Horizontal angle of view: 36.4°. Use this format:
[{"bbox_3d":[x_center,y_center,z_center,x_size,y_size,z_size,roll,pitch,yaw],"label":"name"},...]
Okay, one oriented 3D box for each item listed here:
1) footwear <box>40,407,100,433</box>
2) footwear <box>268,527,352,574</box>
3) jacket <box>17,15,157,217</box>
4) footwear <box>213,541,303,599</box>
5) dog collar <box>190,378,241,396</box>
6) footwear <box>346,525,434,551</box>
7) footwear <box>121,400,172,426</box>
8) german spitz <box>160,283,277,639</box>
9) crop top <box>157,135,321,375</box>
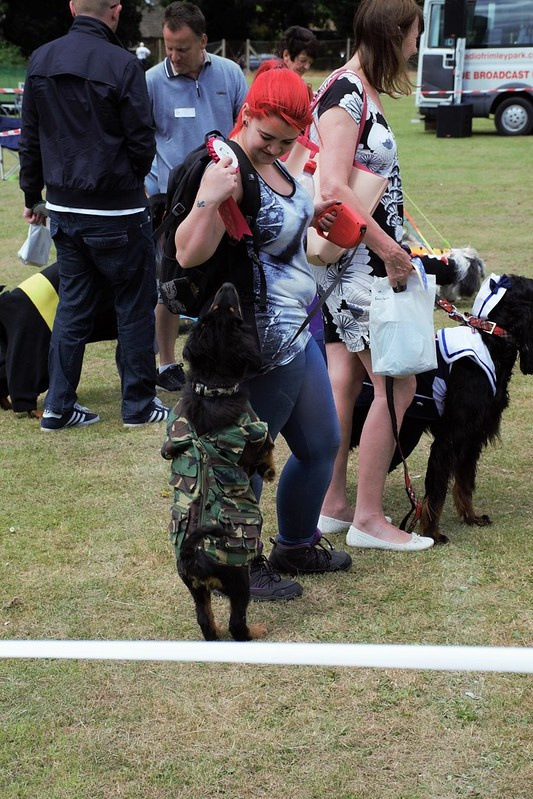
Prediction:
[{"bbox_3d":[-1.073,0.093,4.512,0.352,0.133,0.116,-7,18,-40],"label":"footwear"},{"bbox_3d":[0.173,0.548,2.975,0.345,0.142,0.115,-2,7,-17],"label":"footwear"},{"bbox_3d":[-0.908,-1.393,3.982,0.722,0.950,0.330,5,8,11],"label":"jacket"},{"bbox_3d":[-0.036,0.609,2.730,0.250,0.147,0.091,0,-2,-3],"label":"footwear"},{"bbox_3d":[-0.128,-0.027,2.118,0.123,0.039,0.065,2,8,-6],"label":"dog collar"},{"bbox_3d":[0.478,0.530,3.111,0.324,0.093,0.112,-1,1,3],"label":"footwear"},{"bbox_3d":[-0.652,0.073,4.355,0.251,0.096,0.079,-11,28,-26],"label":"footwear"},{"bbox_3d":[-0.128,0.203,2.186,0.305,1.025,0.242,3,8,-2],"label":"german spitz"},{"bbox_3d":[-0.093,-0.444,2.146,0.540,0.611,0.491,2,16,5],"label":"crop top"}]
